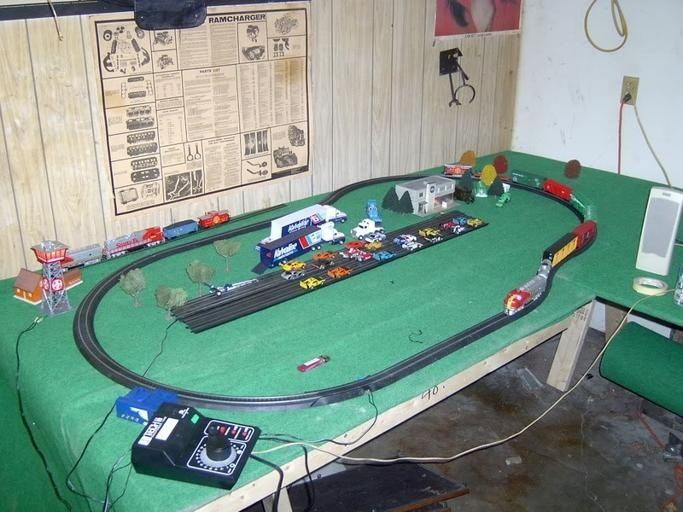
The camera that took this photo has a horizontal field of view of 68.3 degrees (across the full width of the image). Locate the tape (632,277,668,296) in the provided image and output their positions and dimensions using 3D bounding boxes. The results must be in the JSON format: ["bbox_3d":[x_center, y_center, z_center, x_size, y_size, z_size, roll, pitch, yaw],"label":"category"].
[{"bbox_3d":[2.135,0.211,3.482,0.210,0.052,0.226,13,29,31],"label":"tape"}]
